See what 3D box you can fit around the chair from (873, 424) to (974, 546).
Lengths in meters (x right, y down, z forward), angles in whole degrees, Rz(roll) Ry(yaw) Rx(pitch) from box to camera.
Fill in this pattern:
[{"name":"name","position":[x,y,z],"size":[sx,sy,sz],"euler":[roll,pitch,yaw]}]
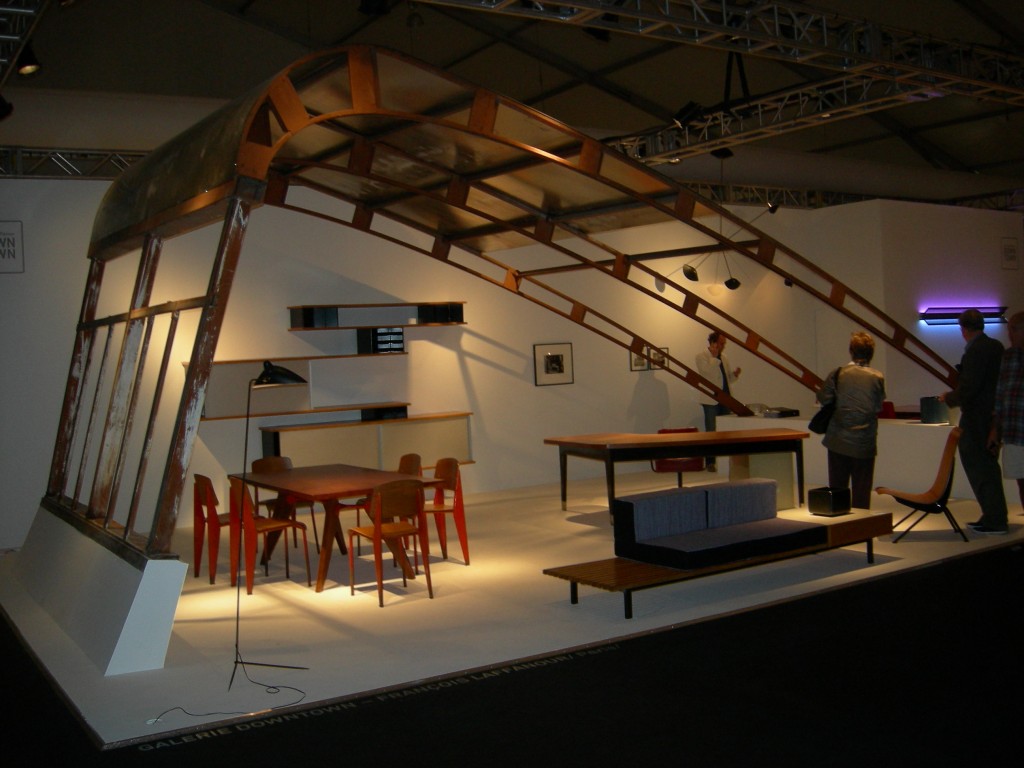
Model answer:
[{"name":"chair","position":[4.171,1.005,7.872],"size":[0.880,1.163,0.692],"euler":[-4,-1,28]}]

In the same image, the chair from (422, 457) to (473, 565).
[{"name":"chair","position":[-0.829,1.389,8.158],"size":[0.592,1.109,0.593],"euler":[-2,0,-31]}]

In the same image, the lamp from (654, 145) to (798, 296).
[{"name":"lamp","position":[3.349,-2.829,12.106],"size":[1.854,2.083,1.928],"euler":[1,27,32]}]

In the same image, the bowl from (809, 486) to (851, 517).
[{"name":"bowl","position":[3.037,1.139,7.356],"size":[0.276,0.225,0.297],"euler":[-1,-1,0]}]

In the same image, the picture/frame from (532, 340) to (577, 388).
[{"name":"picture/frame","position":[0.655,-0.321,12.548],"size":[0.741,0.722,0.058],"euler":[1,-5,-38]}]

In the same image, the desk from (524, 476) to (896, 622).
[{"name":"desk","position":[1.773,1.363,6.661],"size":[2.974,0.904,0.913],"euler":[-4,4,-27]}]

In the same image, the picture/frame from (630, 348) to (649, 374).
[{"name":"picture/frame","position":[2.129,-0.368,12.936],"size":[0.317,0.324,0.012],"euler":[34,-31,-25]}]

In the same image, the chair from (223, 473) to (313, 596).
[{"name":"chair","position":[-2.488,1.312,7.401],"size":[0.484,0.744,0.402],"euler":[18,-30,-38]}]

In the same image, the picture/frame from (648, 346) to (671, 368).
[{"name":"picture/frame","position":[2.384,-0.428,12.490],"size":[0.216,0.298,0.409],"euler":[-2,1,-3]}]
